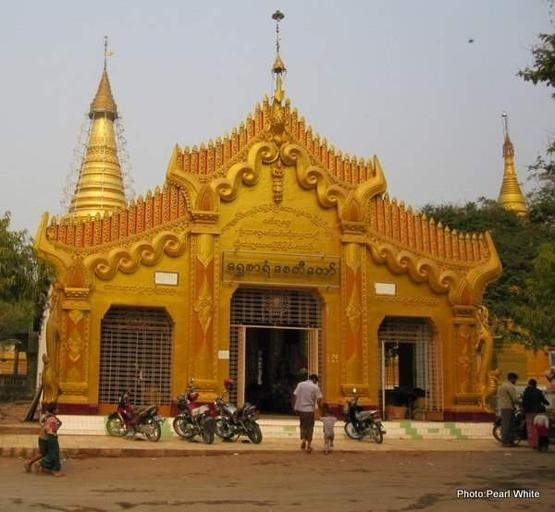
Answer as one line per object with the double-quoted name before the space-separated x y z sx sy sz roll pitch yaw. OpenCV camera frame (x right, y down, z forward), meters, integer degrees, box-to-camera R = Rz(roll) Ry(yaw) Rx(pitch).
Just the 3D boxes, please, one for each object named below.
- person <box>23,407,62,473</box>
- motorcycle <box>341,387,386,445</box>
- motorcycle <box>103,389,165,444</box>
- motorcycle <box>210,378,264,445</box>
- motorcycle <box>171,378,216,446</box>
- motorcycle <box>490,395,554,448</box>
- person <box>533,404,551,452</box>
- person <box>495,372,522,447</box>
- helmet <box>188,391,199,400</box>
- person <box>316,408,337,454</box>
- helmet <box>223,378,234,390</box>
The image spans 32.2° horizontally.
"person" -3.607 2.795 14.847 0.505 1.108 0.786 4 -15 -13
"motorcycle" 1.769 3.550 20.603 0.955 0.965 0.622 -5 -15 22
"motorcycle" -3.018 3.375 19.454 1.595 1.020 0.596 0 -6 42
"motorcycle" -0.834 3.367 19.679 0.656 0.870 1.251 -3 1 -31
"motorcycle" -1.524 3.313 19.652 0.735 0.936 1.395 6 -4 -27
"motorcycle" 5.055 3.501 20.275 1.421 0.966 0.784 -1 -13 13
"person" 5.100 3.384 18.811 0.289 0.850 0.459 -3 -14 13
"person" 4.695 3.144 19.898 0.431 1.519 0.716 -3 -14 13
"helmet" -1.825 2.916 20.205 0.227 0.176 0.194 1 -10 17
"person" 0.994 3.461 19.521 0.315 0.892 0.267 -2 18 -9
"helmet" -1.118 2.836 21.051 0.237 0.329 0.322 1 3 -3
